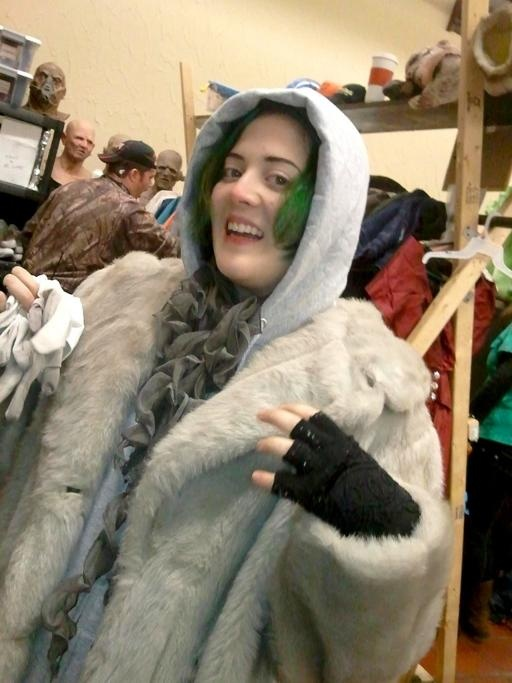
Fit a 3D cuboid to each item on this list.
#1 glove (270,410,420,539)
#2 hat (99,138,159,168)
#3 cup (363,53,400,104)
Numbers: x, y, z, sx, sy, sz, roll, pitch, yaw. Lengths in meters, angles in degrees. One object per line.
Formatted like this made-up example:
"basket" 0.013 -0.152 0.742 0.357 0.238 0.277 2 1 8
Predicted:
"glove" 0.102 0.149 0.597 0.164 0.094 0.044 33 -7 -12
"hat" -0.608 -0.868 2.535 0.225 0.117 0.142 7 28 -40
"cup" 0.422 -0.901 1.835 0.093 0.151 0.093 11 17 -4
